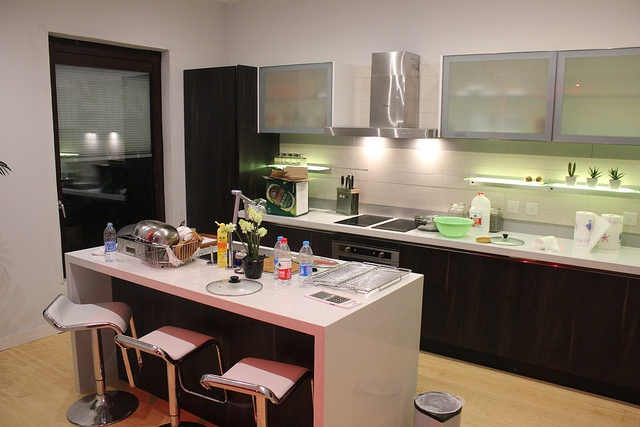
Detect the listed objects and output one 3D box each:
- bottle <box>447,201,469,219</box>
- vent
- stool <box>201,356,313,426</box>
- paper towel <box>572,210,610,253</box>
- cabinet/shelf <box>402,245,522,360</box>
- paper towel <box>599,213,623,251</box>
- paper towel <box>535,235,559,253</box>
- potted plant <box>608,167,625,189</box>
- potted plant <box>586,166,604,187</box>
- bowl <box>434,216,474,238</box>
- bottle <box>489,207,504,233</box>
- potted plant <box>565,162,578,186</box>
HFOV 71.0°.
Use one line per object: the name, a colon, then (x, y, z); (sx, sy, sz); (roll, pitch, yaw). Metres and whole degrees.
bottle: (1.482, -0.037, 4.880); (0.166, 0.295, 0.173); (1, 6, 0)
vent: (0.721, -1.233, 4.824); (0.991, 0.710, 0.990); (5, 11, 31)
stool: (-0.396, 1.146, 3.012); (0.669, 0.263, 0.415); (2, 12, 19)
paper towel: (2.500, 0.148, 4.288); (0.336, 0.374, 0.295); (23, 24, 36)
cabinet/shelf: (1.394, 0.828, 4.271); (1.120, 0.928, 0.359); (6, 8, 32)
paper towel: (2.707, 0.179, 4.174); (0.193, 0.325, 0.142); (1, 12, 16)
paper towel: (2.109, 0.295, 4.185); (0.160, 0.069, 0.161); (-5, 6, -17)
potted plant: (2.771, -0.328, 4.220); (0.127, 0.184, 0.174); (6, 14, 35)
potted plant: (2.619, -0.346, 4.287); (0.117, 0.188, 0.156); (5, 13, 31)
bowl: (1.363, 0.139, 4.584); (0.378, 0.189, 0.293); (1, 12, 15)
bottle: (1.855, 0.079, 4.730); (0.094, 0.239, 0.180); (8, 15, 40)
potted plant: (2.445, -0.380, 4.366); (0.090, 0.212, 0.150); (4, 13, 28)
